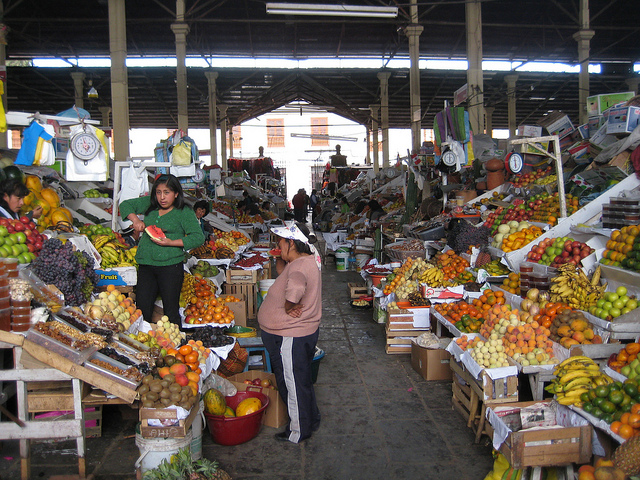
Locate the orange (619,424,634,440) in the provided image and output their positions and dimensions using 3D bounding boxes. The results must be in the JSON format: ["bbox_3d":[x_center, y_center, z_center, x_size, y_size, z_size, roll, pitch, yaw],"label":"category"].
[{"bbox_3d":[2.035,1.278,3.503,0.072,0.094,0.075,9,-4,-8],"label":"orange"}]

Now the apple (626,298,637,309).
[{"bbox_3d":[2.587,0.535,4.376,0.060,0.076,0.063,1,-9,15],"label":"apple"}]

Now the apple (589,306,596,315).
[{"bbox_3d":[2.338,0.603,4.535,0.038,0.052,0.066,1,4,27],"label":"apple"}]

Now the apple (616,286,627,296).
[{"bbox_3d":[2.578,0.436,4.508,0.067,0.072,0.148,2,5,37],"label":"apple"}]

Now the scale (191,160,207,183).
[{"bbox_3d":[-1.516,-0.834,6.615,0.160,0.239,0.074,1,2,24],"label":"scale"}]

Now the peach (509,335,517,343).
[{"bbox_3d":[1.644,0.845,4.490,0.050,0.055,0.053,0,25,0],"label":"peach"}]

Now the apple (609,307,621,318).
[{"bbox_3d":[2.460,0.608,4.399,0.071,0.077,0.075,2,-34,8],"label":"apple"}]

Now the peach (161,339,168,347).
[{"bbox_3d":[-1.308,0.873,4.437,0.045,0.056,0.088,-1,4,7],"label":"peach"}]

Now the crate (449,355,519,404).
[{"bbox_3d":[1.370,1.176,4.480,0.388,0.272,0.455,1,7,-2],"label":"crate"}]

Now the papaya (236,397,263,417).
[{"bbox_3d":[-0.584,1.386,4.363,0.173,0.113,0.122,-8,-5,23],"label":"papaya"}]

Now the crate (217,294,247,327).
[{"bbox_3d":[-1.056,0.859,6.492,0.406,0.280,0.425,1,3,-1],"label":"crate"}]

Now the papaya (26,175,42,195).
[{"bbox_3d":[-3.035,-0.582,5.589,0.140,0.200,0.245,-3,4,-27],"label":"papaya"}]

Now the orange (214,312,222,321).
[{"bbox_3d":[-1.028,0.773,5.277,0.055,0.061,0.056,0,11,0],"label":"orange"}]

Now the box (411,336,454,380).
[{"bbox_3d":[1.110,1.267,5.522,0.249,0.334,0.490,-4,5,-41],"label":"box"}]

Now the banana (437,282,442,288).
[{"bbox_3d":[1.381,0.525,6.093,0.047,0.052,0.016,5,-3,11],"label":"banana"}]

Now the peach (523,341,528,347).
[{"bbox_3d":[1.739,0.884,4.457,0.031,0.040,0.032,7,8,23],"label":"peach"}]

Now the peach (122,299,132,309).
[{"bbox_3d":[-1.624,0.539,4.445,0.055,0.056,0.056,-30,-23,-17],"label":"peach"}]

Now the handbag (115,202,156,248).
[{"bbox_3d":[-1.817,-0.129,5.410,0.113,0.356,0.140,-31,33,-9],"label":"handbag"}]

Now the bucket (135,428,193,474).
[{"bbox_3d":[-1.091,1.447,3.868,0.396,0.265,0.455,-2,10,-11],"label":"bucket"}]

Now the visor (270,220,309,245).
[{"bbox_3d":[-0.243,-0.060,4.225,0.210,0.081,0.153,24,0,-8],"label":"visor"}]

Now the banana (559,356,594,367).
[{"bbox_3d":[2.034,0.965,4.165,0.176,0.051,0.038,-8,-32,-22],"label":"banana"}]

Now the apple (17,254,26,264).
[{"bbox_3d":[-2.325,0.152,4.103,0.054,0.068,0.077,-4,5,-38],"label":"apple"}]

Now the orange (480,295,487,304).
[{"bbox_3d":[1.697,0.619,5.477,0.057,0.075,0.060,3,0,15],"label":"orange"}]

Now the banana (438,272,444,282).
[{"bbox_3d":[1.419,0.451,6.175,0.028,0.128,0.033,-5,-30,41],"label":"banana"}]

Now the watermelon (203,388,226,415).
[{"bbox_3d":[-0.855,1.317,4.279,0.171,0.205,0.088,-2,4,-14],"label":"watermelon"}]

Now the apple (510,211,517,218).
[{"bbox_3d":[2.362,-0.308,6.427,0.054,0.056,0.054,33,-28,-28],"label":"apple"}]

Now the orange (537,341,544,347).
[{"bbox_3d":[1.856,0.882,4.437,0.048,0.043,0.040,-1,4,7],"label":"orange"}]

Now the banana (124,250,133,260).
[{"bbox_3d":[-1.855,0.146,5.110,0.047,0.095,0.031,-3,-36,-38],"label":"banana"}]

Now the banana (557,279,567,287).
[{"bbox_3d":[2.254,0.406,4.907,0.082,0.062,0.083,0,4,23],"label":"banana"}]

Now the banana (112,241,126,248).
[{"bbox_3d":[-1.976,0.050,5.185,0.180,0.045,0.053,22,6,24],"label":"banana"}]

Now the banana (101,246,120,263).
[{"bbox_3d":[-1.980,0.146,4.968,0.045,0.110,0.173,-33,-14,8],"label":"banana"}]

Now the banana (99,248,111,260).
[{"bbox_3d":[-2.025,0.130,4.966,0.040,0.150,0.052,-39,-10,24],"label":"banana"}]

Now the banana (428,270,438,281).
[{"bbox_3d":[1.323,0.424,6.181,0.149,0.104,0.050,-4,4,-33],"label":"banana"}]

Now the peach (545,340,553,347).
[{"bbox_3d":[1.927,0.875,4.439,0.041,0.054,0.041,-1,4,3],"label":"peach"}]

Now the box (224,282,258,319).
[{"bbox_3d":[-1.014,0.755,7.057,0.490,0.528,0.513,-1,0,-2],"label":"box"}]

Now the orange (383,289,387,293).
[{"bbox_3d":[0.833,0.659,6.757,0.060,0.034,0.063,1,-2,-4],"label":"orange"}]

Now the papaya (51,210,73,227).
[{"bbox_3d":[-2.620,-0.235,5.363,0.163,0.127,0.130,27,-10,31],"label":"papaya"}]

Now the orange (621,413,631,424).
[{"bbox_3d":[2.060,1.207,3.553,0.057,0.072,0.058,10,9,29],"label":"orange"}]

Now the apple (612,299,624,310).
[{"bbox_3d":[2.508,0.537,4.423,0.073,0.079,0.075,6,-23,33],"label":"apple"}]

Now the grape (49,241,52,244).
[{"bbox_3d":[-2.109,0.024,4.122,0.018,0.019,0.023,-3,4,-31],"label":"grape"}]

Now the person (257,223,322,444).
[{"bbox_3d":[-0.247,0.778,4.344,0.516,1.826,0.533,-1,3,-5],"label":"person"}]

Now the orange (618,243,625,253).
[{"bbox_3d":[2.748,0.073,4.802,0.035,0.080,0.065,-1,4,-7],"label":"orange"}]

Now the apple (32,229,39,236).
[{"bbox_3d":[-2.342,-0.062,4.329,0.046,0.060,0.048,19,12,-13],"label":"apple"}]

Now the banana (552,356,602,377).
[{"bbox_3d":[2.019,0.976,4.126,0.291,0.082,0.159,-16,1,-11],"label":"banana"}]

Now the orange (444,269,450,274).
[{"bbox_3d":[1.512,0.377,6.305,0.031,0.039,0.076,-4,5,-42],"label":"orange"}]

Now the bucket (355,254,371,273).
[{"bbox_3d":[0.844,0.489,10.767,0.323,0.385,0.339,0,0,0],"label":"bucket"}]

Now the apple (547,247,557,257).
[{"bbox_3d":[2.365,0.123,5.408,0.074,0.080,0.078,-5,22,-17],"label":"apple"}]
